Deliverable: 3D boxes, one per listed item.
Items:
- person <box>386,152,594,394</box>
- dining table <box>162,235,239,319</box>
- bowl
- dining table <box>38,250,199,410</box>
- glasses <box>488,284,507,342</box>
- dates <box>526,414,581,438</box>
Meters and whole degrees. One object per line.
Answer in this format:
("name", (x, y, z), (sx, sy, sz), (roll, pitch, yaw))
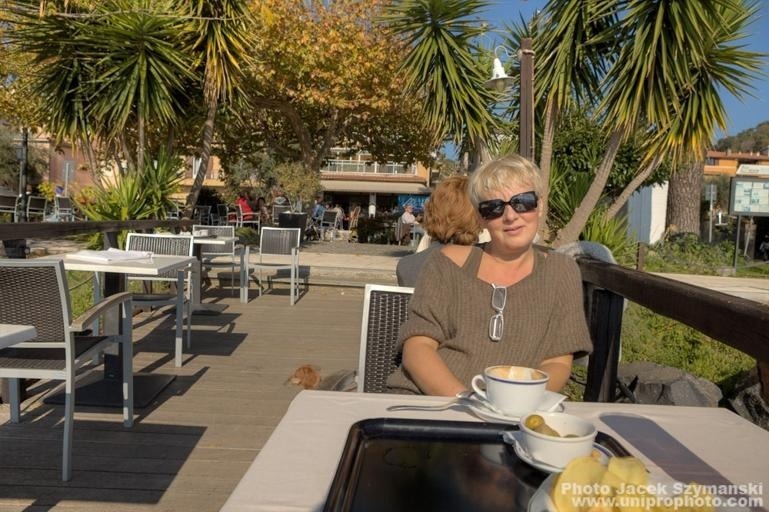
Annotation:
("person", (0.521, 0.116, 2.685), (0.829, 1.179, 0.581), (-3, 11, -29))
("dining table", (-2.352, 0.251, 7.252), (0.986, 0.988, 0.990), (0, 5, -12))
("bowl", (0.597, 0.633, 1.935), (0.237, 0.130, 0.241), (-2, 1, 0))
("dining table", (-2.123, 0.601, 4.960), (1.203, 1.181, 1.212), (1, 5, 0))
("glasses", (0.530, 0.272, 2.678), (0.074, 0.253, 0.060), (4, 10, 10))
("dates", (0.520, 0.568, 1.903), (0.093, 0.044, 0.096), (1, -4, 32))
